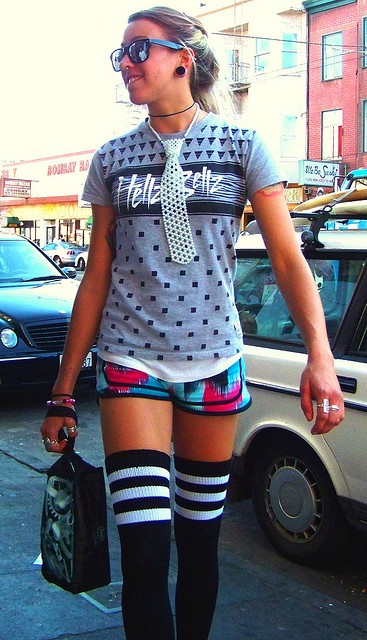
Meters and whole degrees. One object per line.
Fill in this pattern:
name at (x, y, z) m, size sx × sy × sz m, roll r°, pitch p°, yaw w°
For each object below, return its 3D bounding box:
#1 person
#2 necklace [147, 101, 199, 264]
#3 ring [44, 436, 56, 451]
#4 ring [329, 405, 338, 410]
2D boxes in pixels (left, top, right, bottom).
person at (-0.013, 0.018, 1.162) m, size 0.735 × 1.145 × 0.357 m, roll 4°, pitch -2°, yaw 14°
necklace at (-0.029, -0.293, 1.137) m, size 0.075 × 0.269 × 0.197 m, roll 6°, pitch -2°, yaw -22°
ring at (-0.338, 0.314, 1.291) m, size 0.029 × 0.034 × 0.036 m, roll 0°, pitch -10°, yaw 1°
ring at (0.276, 0.159, 0.918) m, size 0.019 × 0.013 × 0.004 m, roll 6°, pitch -2°, yaw -18°
